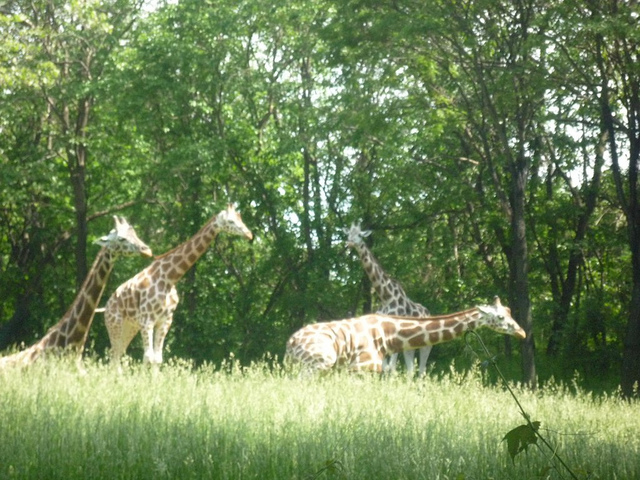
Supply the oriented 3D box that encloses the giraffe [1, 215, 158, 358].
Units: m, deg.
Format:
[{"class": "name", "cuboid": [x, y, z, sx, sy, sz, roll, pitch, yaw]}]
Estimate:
[{"class": "giraffe", "cuboid": [-6.221, 1.594, 33.277, 3.332, 6.661, 3.821, 0, -2, 40]}]
